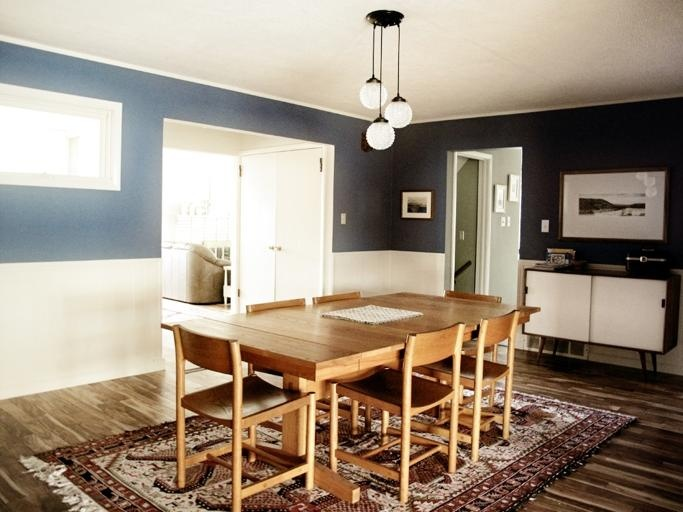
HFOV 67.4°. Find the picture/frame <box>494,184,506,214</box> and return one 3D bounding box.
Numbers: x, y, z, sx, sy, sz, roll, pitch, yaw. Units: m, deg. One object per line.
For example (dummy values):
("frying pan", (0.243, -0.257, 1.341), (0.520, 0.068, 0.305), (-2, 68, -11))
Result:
("picture/frame", (2.287, -0.838, 7.433), (0.041, 0.509, 0.465), (2, 4, 40))

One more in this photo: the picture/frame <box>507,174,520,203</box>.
("picture/frame", (2.584, -1.030, 7.721), (0.049, 0.479, 0.510), (1, 2, 38))

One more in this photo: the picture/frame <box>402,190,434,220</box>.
("picture/frame", (1.027, -0.679, 6.777), (0.444, 0.345, 0.044), (1, 0, 41))

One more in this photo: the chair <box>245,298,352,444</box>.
("chair", (-0.300, 0.740, 3.942), (1.144, 0.538, 0.755), (-4, 5, -45))

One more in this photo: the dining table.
("dining table", (-0.198, 0.520, 3.268), (2.301, 0.772, 1.232), (-5, 6, -45))

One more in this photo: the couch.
("couch", (-2.440, 0.080, 8.662), (0.917, 1.137, 1.776), (-4, 6, -42))

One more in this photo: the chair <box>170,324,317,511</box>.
("chair", (-0.558, 0.892, 2.951), (0.603, 0.998, 0.699), (-5, 14, -42))

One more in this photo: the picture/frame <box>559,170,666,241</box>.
("picture/frame", (2.877, -0.541, 5.444), (1.087, 0.799, 0.090), (10, 12, 33))
